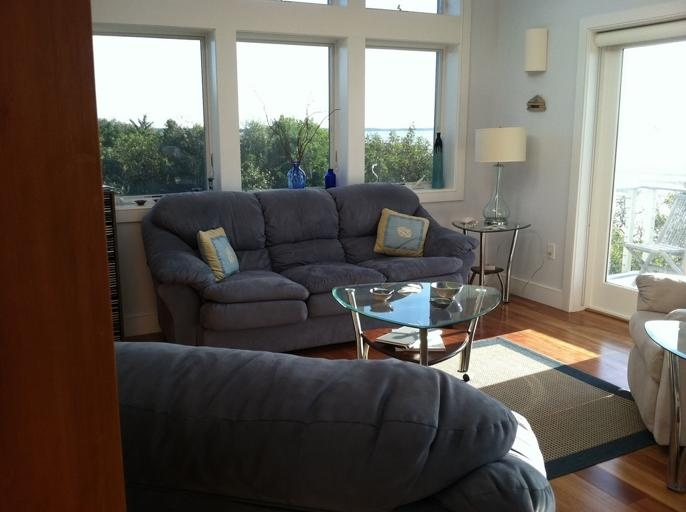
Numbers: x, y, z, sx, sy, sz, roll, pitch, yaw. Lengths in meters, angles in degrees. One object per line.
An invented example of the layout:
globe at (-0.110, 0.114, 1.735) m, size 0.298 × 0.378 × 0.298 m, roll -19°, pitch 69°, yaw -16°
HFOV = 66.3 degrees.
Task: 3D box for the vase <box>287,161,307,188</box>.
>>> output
vase at (-0.380, -0.643, 4.348) m, size 0.189 × 0.318 × 0.217 m, roll 0°, pitch 3°, yaw -4°

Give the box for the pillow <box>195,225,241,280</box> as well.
pillow at (-0.821, -0.007, 3.507) m, size 0.170 × 0.328 × 0.385 m, roll 0°, pitch 8°, yaw 9°

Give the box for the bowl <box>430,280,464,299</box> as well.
bowl at (0.575, 0.191, 2.906) m, size 0.108 × 0.045 × 0.112 m, roll 1°, pitch 20°, yaw 0°

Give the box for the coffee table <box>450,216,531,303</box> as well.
coffee table at (1.307, -0.034, 4.784) m, size 0.697 × 0.794 × 0.697 m, roll -6°, pitch 17°, yaw -20°

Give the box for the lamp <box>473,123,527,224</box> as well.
lamp at (1.354, -0.690, 4.535) m, size 0.416 × 0.809 × 0.627 m, roll 4°, pitch 13°, yaw 19°

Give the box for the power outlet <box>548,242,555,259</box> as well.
power outlet at (1.763, -0.044, 4.445) m, size 0.012 × 0.136 × 0.091 m, roll -6°, pitch 13°, yaw -26°

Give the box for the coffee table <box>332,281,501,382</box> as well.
coffee table at (0.470, 0.451, 2.975) m, size 0.879 × 0.531 × 0.821 m, roll -4°, pitch -5°, yaw 39°

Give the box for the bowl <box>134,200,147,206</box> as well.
bowl at (-1.496, -0.393, 3.880) m, size 0.069 × 0.037 × 0.073 m, roll 3°, pitch 3°, yaw 0°

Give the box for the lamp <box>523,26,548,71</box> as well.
lamp at (1.591, -1.696, 4.375) m, size 0.201 × 0.359 × 0.125 m, roll 0°, pitch -1°, yaw 8°
